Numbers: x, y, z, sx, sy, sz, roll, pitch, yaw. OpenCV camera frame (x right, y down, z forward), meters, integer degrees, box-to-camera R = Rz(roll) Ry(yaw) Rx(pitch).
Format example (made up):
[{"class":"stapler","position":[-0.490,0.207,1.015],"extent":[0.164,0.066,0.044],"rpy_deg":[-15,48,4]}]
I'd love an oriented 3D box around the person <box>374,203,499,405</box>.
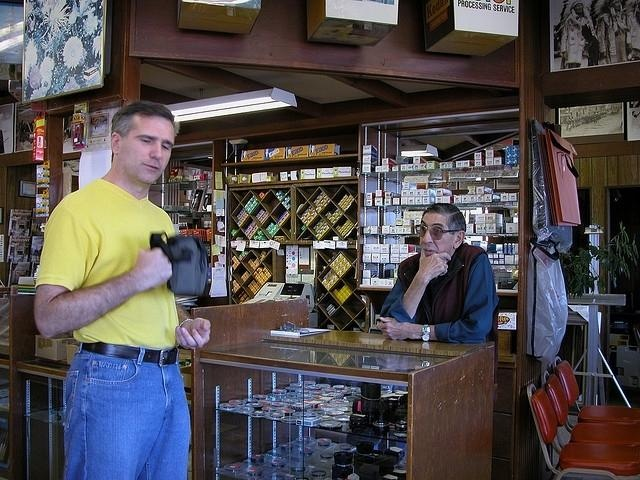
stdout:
[{"class":"person","position":[0.763,0.272,3.523],"extent":[0.737,0.980,0.627],"rpy_deg":[8,-16,-7]}]

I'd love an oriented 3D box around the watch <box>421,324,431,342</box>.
[{"class":"watch","position":[0.646,0.570,3.270],"extent":[0.051,0.088,0.081],"rpy_deg":[1,2,6]}]

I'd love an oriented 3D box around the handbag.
[{"class":"handbag","position":[-0.507,0.090,2.049],"extent":[0.245,0.265,0.190],"rpy_deg":[-2,2,-37]}]
